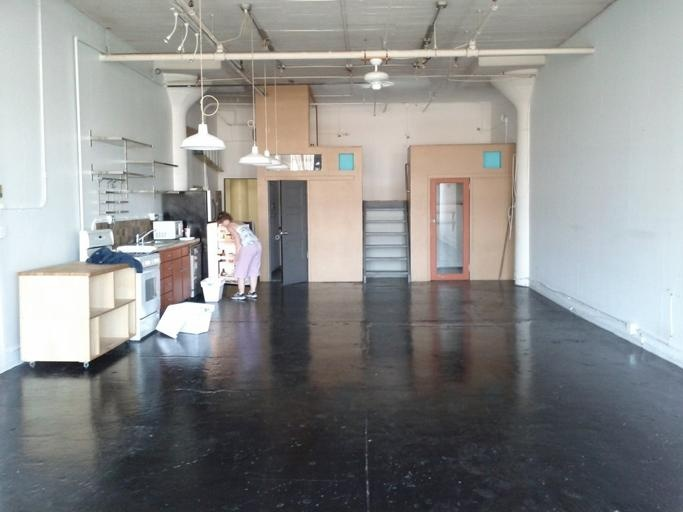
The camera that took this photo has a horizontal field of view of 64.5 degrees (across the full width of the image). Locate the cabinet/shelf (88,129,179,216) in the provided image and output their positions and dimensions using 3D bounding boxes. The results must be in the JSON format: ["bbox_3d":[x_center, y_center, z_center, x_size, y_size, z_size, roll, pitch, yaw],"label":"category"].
[{"bbox_3d":[-3.420,-1.272,8.865,0.432,1.403,2.543,-2,11,-4],"label":"cabinet/shelf"}]

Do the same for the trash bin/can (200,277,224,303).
[{"bbox_3d":[-2.281,0.583,9.642,0.340,0.426,0.402,-1,11,-2],"label":"trash bin/can"}]

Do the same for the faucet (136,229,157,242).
[{"bbox_3d":[-3.330,-0.355,9.291,0.149,0.271,0.199,13,6,-12],"label":"faucet"}]

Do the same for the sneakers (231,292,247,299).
[{"bbox_3d":[-1.836,0.722,9.759,0.307,0.138,0.110,4,7,6],"label":"sneakers"}]

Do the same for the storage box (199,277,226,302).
[{"bbox_3d":[-2.251,0.566,9.602,0.468,0.404,0.383,0,-1,-4],"label":"storage box"}]

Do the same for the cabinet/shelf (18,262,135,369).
[{"bbox_3d":[-3.199,0.652,6.729,0.780,1.019,1.452,0,2,-4],"label":"cabinet/shelf"}]

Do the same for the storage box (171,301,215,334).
[{"bbox_3d":[-2.042,0.861,7.463,0.504,0.423,0.374,-4,11,-18],"label":"storage box"}]

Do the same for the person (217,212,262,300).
[{"bbox_3d":[-1.773,-0.006,9.903,0.769,1.588,0.695,-8,13,-34],"label":"person"}]

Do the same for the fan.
[{"bbox_3d":[0.503,-2.622,7.744,1.007,0.396,0.967,-2,21,-2],"label":"fan"}]
